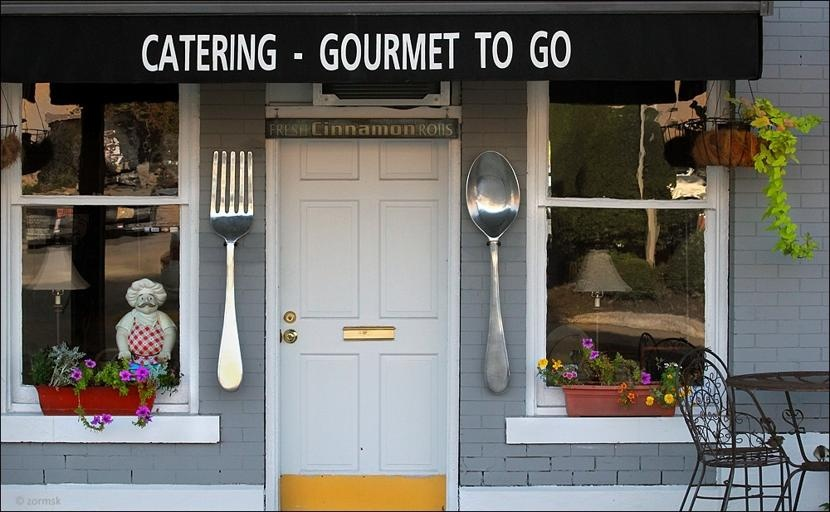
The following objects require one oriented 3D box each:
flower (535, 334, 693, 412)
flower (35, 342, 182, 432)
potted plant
[{"bbox_3d":[1.820,1.436,11.758,1.693,0.809,0.619,0,-7,-2],"label":"flower"},{"bbox_3d":[-2.808,1.173,11.753,1.285,0.789,0.254,-2,3,4],"label":"flower"},{"bbox_3d":[2.982,-0.680,11.695,1.493,1.611,0.955,3,5,33],"label":"potted plant"}]
